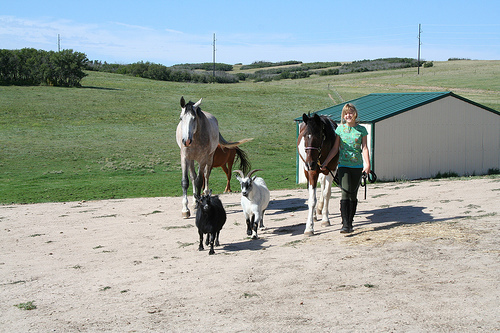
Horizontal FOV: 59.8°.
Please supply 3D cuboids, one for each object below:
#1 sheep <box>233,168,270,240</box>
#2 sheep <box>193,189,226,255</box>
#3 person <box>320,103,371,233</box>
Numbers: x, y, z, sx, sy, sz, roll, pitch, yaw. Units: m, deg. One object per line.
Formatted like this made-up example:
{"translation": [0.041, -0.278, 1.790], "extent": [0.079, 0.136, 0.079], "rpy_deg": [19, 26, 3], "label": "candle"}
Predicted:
{"translation": [0.123, 1.024, 12.188], "extent": [0.874, 1.819, 1.405], "rpy_deg": [-4, 9, 0], "label": "sheep"}
{"translation": [-1.045, 1.402, 11.062], "extent": [0.566, 1.476, 0.856], "rpy_deg": [0, 10, 24], "label": "sheep"}
{"translation": [2.589, 0.054, 11.451], "extent": [1.133, 3.385, 0.732], "rpy_deg": [0, 10, 20], "label": "person"}
